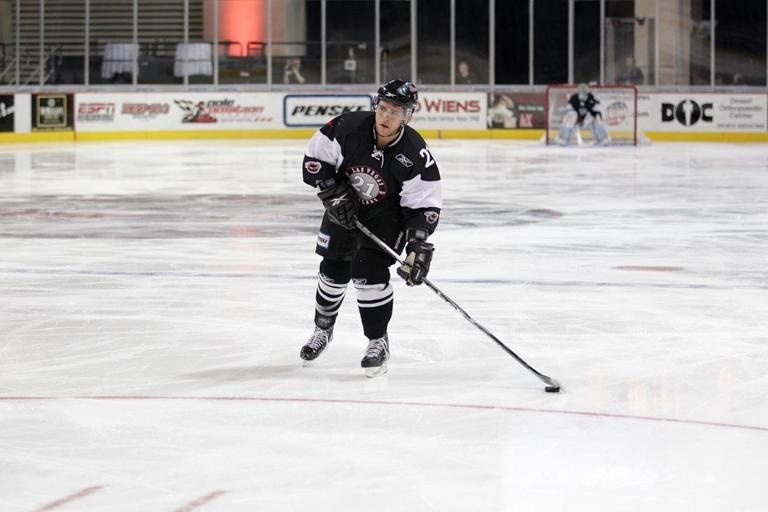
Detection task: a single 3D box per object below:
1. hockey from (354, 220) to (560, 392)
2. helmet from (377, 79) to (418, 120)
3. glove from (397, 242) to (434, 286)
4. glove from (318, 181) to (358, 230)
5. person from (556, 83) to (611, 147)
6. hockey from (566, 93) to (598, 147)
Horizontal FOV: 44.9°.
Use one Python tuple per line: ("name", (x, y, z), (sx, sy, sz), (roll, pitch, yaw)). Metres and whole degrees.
("hockey", (0.394, 0.302, 5.100), (1.568, 0.115, 0.177), (29, -6, 6))
("helmet", (0.075, -0.742, 4.382), (0.159, 0.191, 0.246), (3, 6, 26))
("glove", (0.148, 0.035, 4.473), (0.165, 0.211, 0.136), (0, 6, -1))
("glove", (-0.207, -0.246, 4.475), (0.205, 0.208, 0.108), (-8, 7, 19))
("person", (3.622, -2.499, 16.448), (0.879, 0.959, 1.021), (-26, 22, -38))
("hockey", (3.453, -2.429, 16.334), (0.501, 0.896, 0.415), (-4, 8, -37))
